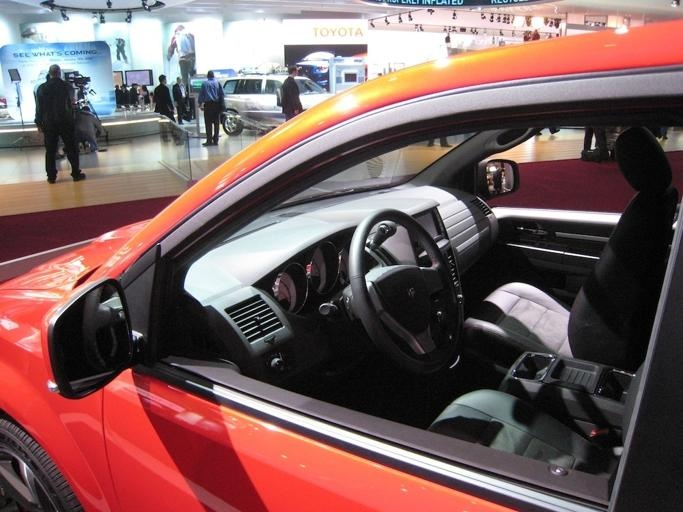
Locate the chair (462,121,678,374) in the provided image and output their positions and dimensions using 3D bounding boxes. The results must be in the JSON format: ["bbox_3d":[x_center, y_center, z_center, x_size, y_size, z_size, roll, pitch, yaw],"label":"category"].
[{"bbox_3d":[0.939,-0.063,2.124,0.918,1.155,0.718,9,17,33],"label":"chair"}]
